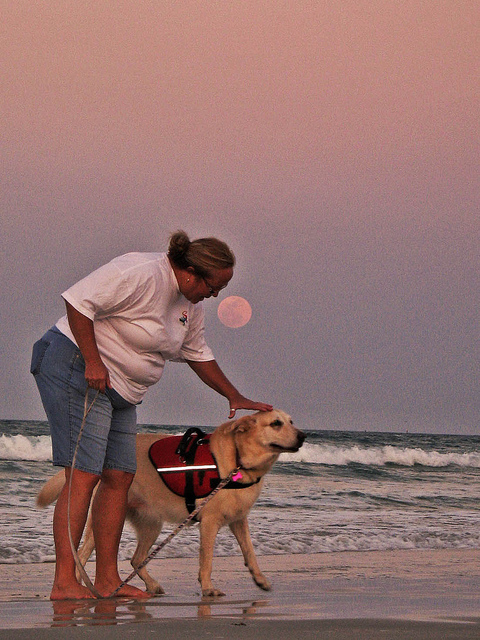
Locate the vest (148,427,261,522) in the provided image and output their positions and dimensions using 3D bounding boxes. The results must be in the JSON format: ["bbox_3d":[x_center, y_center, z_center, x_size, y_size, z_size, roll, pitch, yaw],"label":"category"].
[{"bbox_3d":[-0.590,1.644,15.431,0.891,0.907,0.348,5,11,18],"label":"vest"}]

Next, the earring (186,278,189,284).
[{"bbox_3d":[-0.557,-0.410,14.599,0.041,0.050,0.024,1,13,-7],"label":"earring"}]
